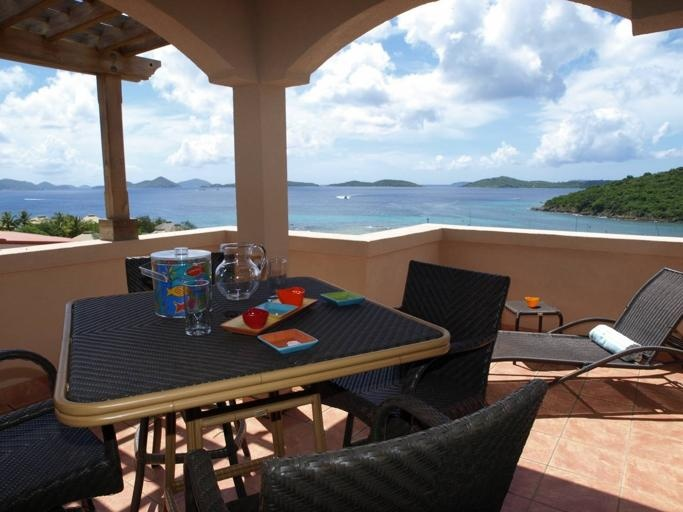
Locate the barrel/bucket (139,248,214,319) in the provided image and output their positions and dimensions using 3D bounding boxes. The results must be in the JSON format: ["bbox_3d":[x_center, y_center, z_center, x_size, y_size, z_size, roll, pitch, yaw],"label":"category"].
[{"bbox_3d":[-0.653,0.094,1.798,0.293,0.237,0.266,7,10,43],"label":"barrel/bucket"}]

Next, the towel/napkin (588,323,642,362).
[{"bbox_3d":[1.687,0.521,2.770,0.295,0.165,0.402,1,8,5],"label":"towel/napkin"}]

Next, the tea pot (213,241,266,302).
[{"bbox_3d":[-0.470,0.054,2.035,0.229,0.254,0.276,0,13,-9],"label":"tea pot"}]
